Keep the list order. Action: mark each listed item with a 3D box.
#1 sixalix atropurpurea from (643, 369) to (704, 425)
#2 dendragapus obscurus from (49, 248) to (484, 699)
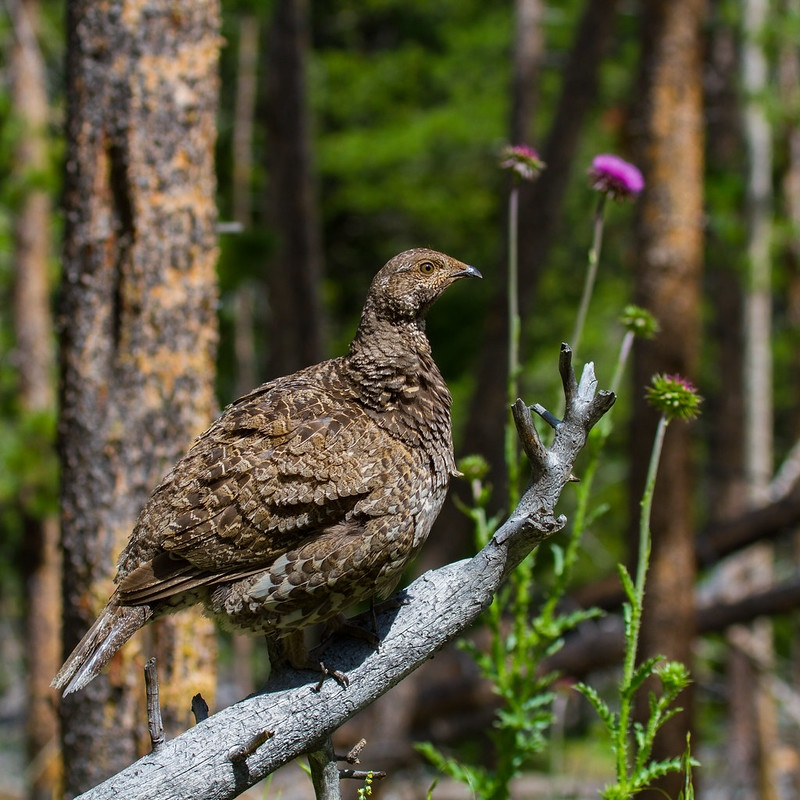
[{"bbox_3d":[1.424,-0.002,9.989,0.249,0.177,0.253,35,7,-24],"label":"sixalix atropurpurea"},{"bbox_3d":[-0.491,0.493,10.850,2.626,2.683,1.431,-3,-4,-1],"label":"dendragapus obscurus"}]
